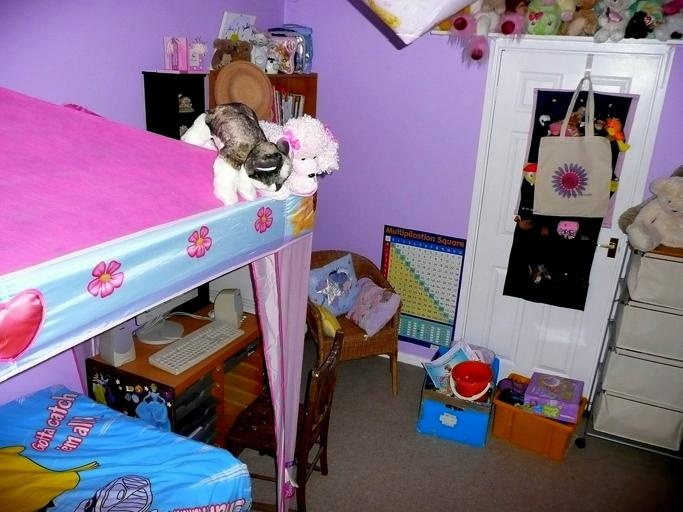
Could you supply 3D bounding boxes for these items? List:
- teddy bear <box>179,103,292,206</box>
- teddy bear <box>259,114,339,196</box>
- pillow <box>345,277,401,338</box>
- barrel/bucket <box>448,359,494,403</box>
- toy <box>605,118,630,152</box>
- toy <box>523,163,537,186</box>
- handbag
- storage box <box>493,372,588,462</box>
[{"bbox_3d":[-0.439,-0.479,2.098,0.286,0.346,0.519,-18,62,-39],"label":"teddy bear"},{"bbox_3d":[-0.177,-0.425,2.200,0.304,0.383,0.194,27,-4,-1],"label":"teddy bear"},{"bbox_3d":[0.255,0.432,4.281,0.353,0.307,0.464,-9,25,-32],"label":"pillow"},{"bbox_3d":[1.005,0.962,3.764,0.341,0.198,0.279,1,21,-10],"label":"barrel/bucket"},{"bbox_3d":[2.053,-0.920,3.637,0.132,0.272,0.122,-28,-9,30],"label":"toy"},{"bbox_3d":[1.514,-0.668,3.972,0.126,0.145,0.138,0,13,7],"label":"toy"},{"bbox_3d":[1.820,-0.825,3.725,0.560,1.079,0.208,15,22,26],"label":"handbag"},{"bbox_3d":[1.632,1.389,4.122,0.690,0.642,0.985,-1,-4,17],"label":"storage box"}]
